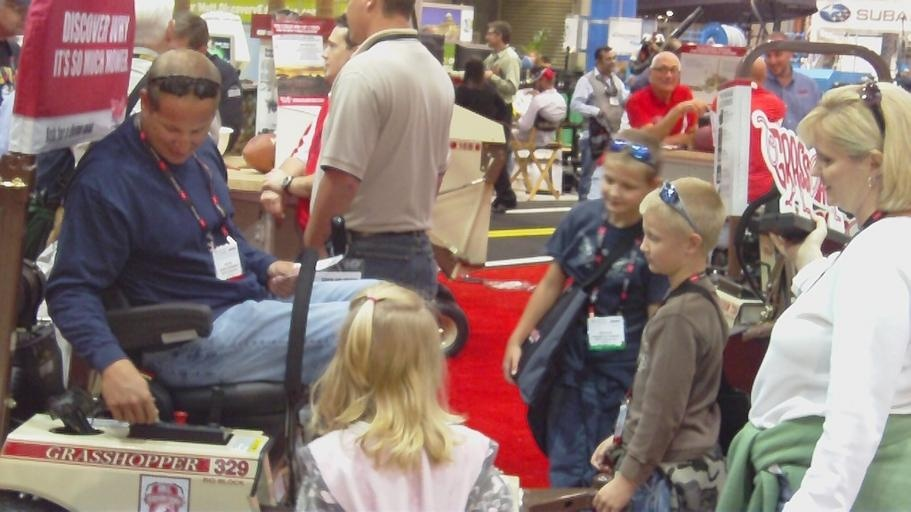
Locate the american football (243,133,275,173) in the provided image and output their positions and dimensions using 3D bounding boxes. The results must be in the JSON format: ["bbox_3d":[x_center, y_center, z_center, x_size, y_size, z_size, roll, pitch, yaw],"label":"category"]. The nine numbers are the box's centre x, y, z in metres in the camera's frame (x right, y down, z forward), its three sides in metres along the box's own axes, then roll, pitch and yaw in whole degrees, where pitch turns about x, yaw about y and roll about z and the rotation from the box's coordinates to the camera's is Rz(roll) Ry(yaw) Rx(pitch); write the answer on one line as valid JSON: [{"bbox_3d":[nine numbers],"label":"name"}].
[{"bbox_3d":[-1.371,-0.726,6.754,0.211,0.221,0.279,36,-4,-2],"label":"american football"}]

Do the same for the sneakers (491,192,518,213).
[{"bbox_3d":[0.640,-0.677,12.354,0.418,0.297,0.160,-2,5,-18],"label":"sneakers"}]

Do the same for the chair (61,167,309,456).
[{"bbox_3d":[-1.259,0.346,4.757,0.958,1.161,0.786,5,17,-10],"label":"chair"}]

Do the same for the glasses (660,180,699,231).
[{"bbox_3d":[1.106,-0.254,4.721,0.227,0.068,0.184,44,-1,-11],"label":"glasses"}]

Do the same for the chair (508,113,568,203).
[{"bbox_3d":[1.213,-1.333,13.708,1.099,1.515,1.026,0,4,0],"label":"chair"}]

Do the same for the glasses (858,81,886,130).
[{"bbox_3d":[1.709,-0.614,3.875,0.056,0.170,0.126,-13,-10,1],"label":"glasses"}]
